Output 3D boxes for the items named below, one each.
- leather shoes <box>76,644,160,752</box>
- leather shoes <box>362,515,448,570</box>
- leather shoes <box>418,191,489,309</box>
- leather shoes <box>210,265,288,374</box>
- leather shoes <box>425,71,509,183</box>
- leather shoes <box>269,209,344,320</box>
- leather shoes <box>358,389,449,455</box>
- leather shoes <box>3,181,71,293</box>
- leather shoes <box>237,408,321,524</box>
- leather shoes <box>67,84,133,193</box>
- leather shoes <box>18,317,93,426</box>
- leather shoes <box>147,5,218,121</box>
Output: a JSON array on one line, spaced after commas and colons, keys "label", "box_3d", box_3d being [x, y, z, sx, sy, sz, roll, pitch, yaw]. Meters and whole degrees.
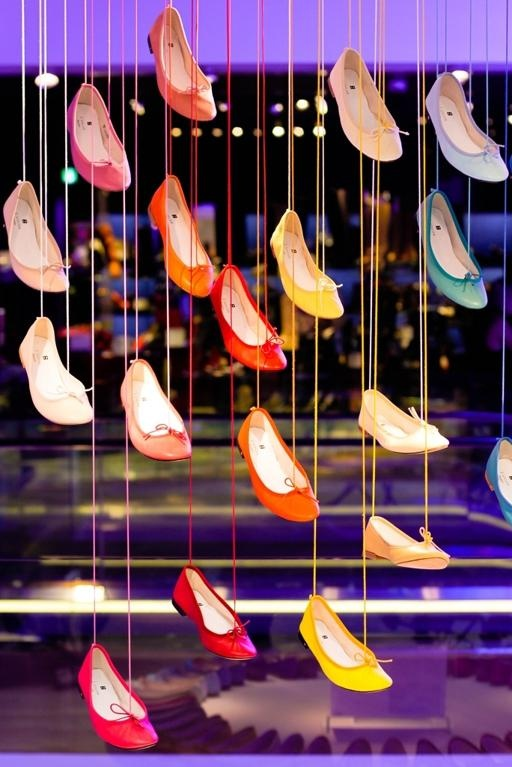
[{"label": "leather shoes", "box_3d": [-0.411, 0.857, 2.802, 0.142, 0.162, 0.405, -5, 38, -33]}, {"label": "leather shoes", "box_3d": [0.440, 0.474, 2.923, 0.231, 0.122, 0.129, 12, 5, 39]}, {"label": "leather shoes", "box_3d": [0.621, -0.424, 3.114, 0.188, 0.342, 0.286, 2, 11, 12]}, {"label": "leather shoes", "box_3d": [-0.036, -0.185, 3.029, 0.170, 0.146, 0.377, 11, 29, -45]}, {"label": "leather shoes", "box_3d": [0.656, -0.800, 3.094, 0.264, 0.324, 0.219, 10, 15, 43]}, {"label": "leather shoes", "box_3d": [0.140, -0.375, 3.104, 0.197, 0.324, 0.361, -2, 12, -7]}, {"label": "leather shoes", "box_3d": [0.440, 0.136, 3.046, 0.153, 0.142, 0.301, -15, 34, -38]}, {"label": "leather shoes", "box_3d": [-0.689, -0.424, 3.029, 0.149, 0.418, 0.143, -12, -14, -30]}, {"label": "leather shoes", "box_3d": [0.046, 0.248, 3.016, 0.146, 0.177, 0.481, -12, 60, -19]}, {"label": "leather shoes", "box_3d": [-0.494, -0.743, 3.070, 0.153, 0.408, 0.144, -12, -17, -21]}, {"label": "leather shoes", "box_3d": [-0.597, -0.026, 2.911, 0.140, 0.154, 0.360, -10, 44, -31]}, {"label": "leather shoes", "box_3d": [-0.231, -0.987, 3.069, 0.197, 0.343, 0.303, -2, 11, -8]}]
